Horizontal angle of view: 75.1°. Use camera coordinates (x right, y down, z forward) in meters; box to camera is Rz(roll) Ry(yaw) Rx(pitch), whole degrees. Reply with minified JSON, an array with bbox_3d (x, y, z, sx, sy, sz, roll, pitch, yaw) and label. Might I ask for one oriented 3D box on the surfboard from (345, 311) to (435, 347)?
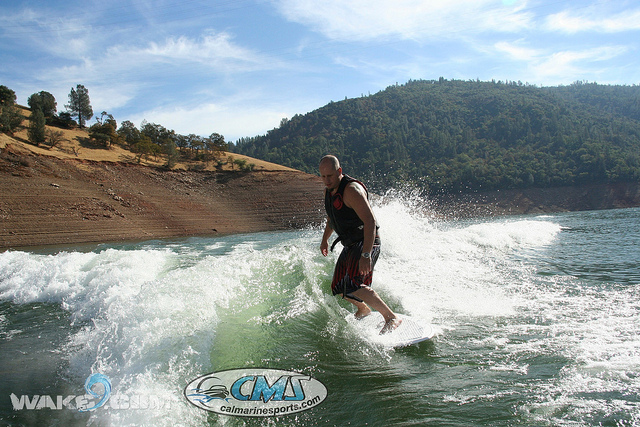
[{"bbox_3d":[1.242,1.871,6.815,1.173,0.244,0.831,4,7,43],"label":"surfboard"}]
